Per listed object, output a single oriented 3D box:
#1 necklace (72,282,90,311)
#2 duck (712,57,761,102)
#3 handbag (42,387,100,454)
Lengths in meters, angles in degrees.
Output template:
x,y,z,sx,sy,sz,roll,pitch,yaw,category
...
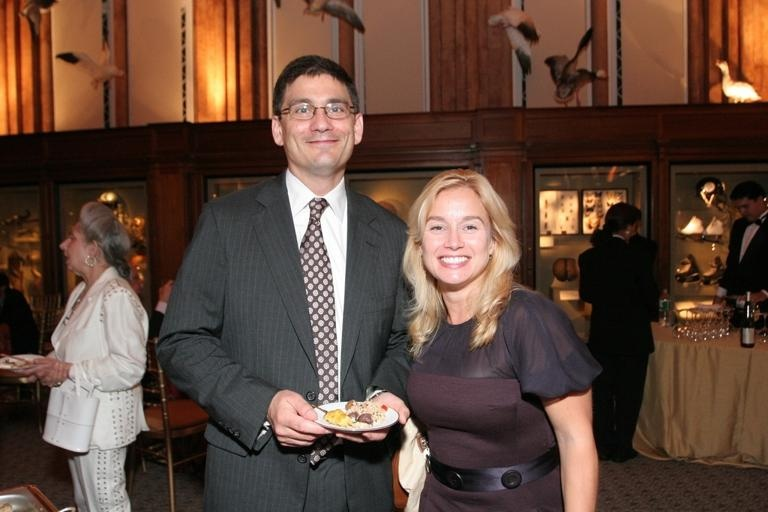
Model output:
x,y,z,sx,sy,sz,roll,pitch,yaw,category
-3.003,0.422,7.845,0.084,0.113,0.372,26,-50,-12,necklace
5.542,-2.743,12.386,0.548,0.643,1.244,4,15,12,duck
-2.976,1.597,7.557,0.508,0.687,0.312,5,14,15,handbag
